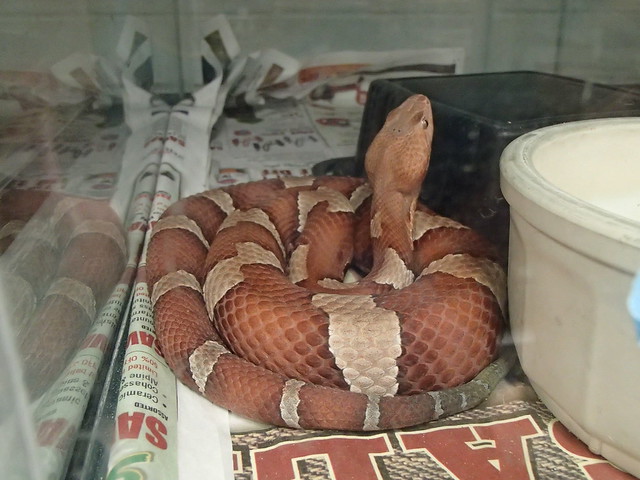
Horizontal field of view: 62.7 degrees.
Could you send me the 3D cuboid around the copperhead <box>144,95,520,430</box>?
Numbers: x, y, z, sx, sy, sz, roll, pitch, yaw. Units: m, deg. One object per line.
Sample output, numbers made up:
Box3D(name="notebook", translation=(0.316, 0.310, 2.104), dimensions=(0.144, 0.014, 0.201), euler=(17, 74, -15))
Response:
Box3D(name="copperhead", translation=(0.014, -0.016, 1.332), dimensions=(0.983, 0.545, 0.799), euler=(14, 29, 30))
